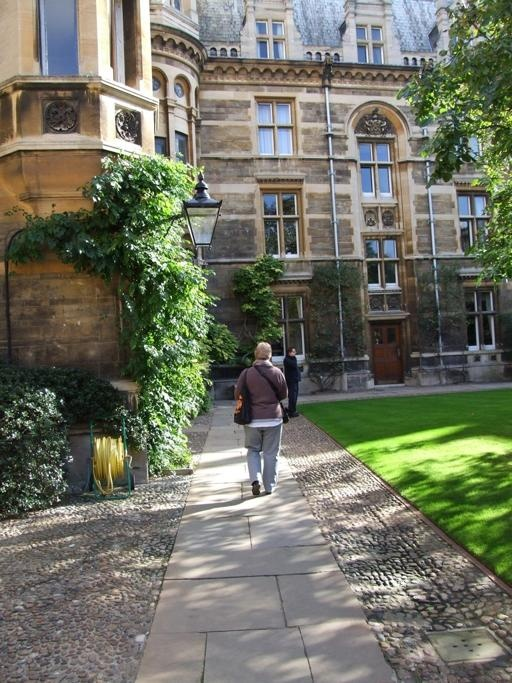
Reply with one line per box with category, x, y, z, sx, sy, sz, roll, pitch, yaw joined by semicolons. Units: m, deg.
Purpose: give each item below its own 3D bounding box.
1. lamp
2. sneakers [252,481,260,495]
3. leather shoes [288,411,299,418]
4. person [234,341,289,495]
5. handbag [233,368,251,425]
lamp;-0.859;-1.444;7.115;0.900;1.272;0.650;-2;6;-4
sneakers;0.000;1.389;5.898;0.057;0.059;0.150;1;1;0
leather shoes;0.730;1.448;12.332;0.288;0.114;0.093;-2;2;20
person;0.033;0.739;6.146;0.553;1.368;0.383;-3;1;-33
handbag;-0.141;0.560;6.047;0.156;0.481;0.239;-3;1;-16
